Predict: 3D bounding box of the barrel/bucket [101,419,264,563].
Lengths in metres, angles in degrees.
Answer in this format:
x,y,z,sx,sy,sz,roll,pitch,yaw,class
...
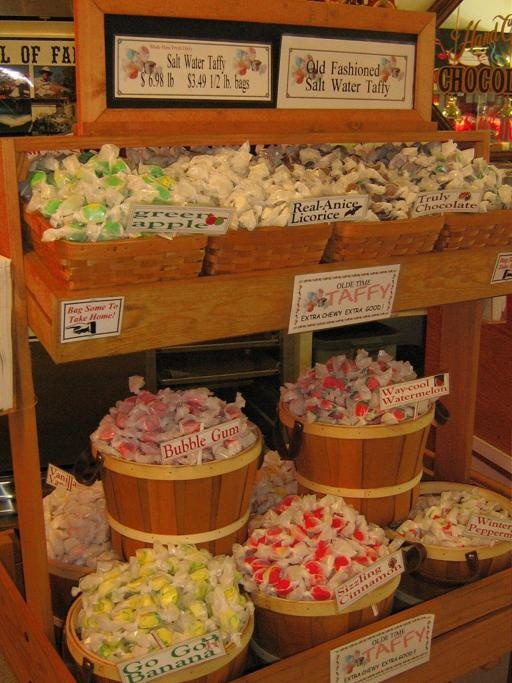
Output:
x,y,z,sx,sy,sz,roll,pitch,yaw,class
-0.153,0.353,1.251,0.328,0.218,0.295,1,15,1,barrel/bucket

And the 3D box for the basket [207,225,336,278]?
x,y,z,sx,sy,sz,roll,pitch,yaw,class
0.024,-0.197,1.017,0.179,0.061,0.128,-14,25,-34,basket

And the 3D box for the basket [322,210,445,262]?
x,y,z,sx,sy,sz,roll,pitch,yaw,class
0.282,-0.234,1.234,0.240,0.071,0.186,9,20,40,basket

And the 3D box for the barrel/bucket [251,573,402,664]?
x,y,z,sx,sy,sz,roll,pitch,yaw,class
0.131,0.591,1.206,0.237,0.132,0.216,-2,4,0,barrel/bucket

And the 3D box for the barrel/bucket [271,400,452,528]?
x,y,z,sx,sy,sz,roll,pitch,yaw,class
0.323,0.325,1.550,0.451,0.322,0.456,-7,9,1,barrel/bucket
